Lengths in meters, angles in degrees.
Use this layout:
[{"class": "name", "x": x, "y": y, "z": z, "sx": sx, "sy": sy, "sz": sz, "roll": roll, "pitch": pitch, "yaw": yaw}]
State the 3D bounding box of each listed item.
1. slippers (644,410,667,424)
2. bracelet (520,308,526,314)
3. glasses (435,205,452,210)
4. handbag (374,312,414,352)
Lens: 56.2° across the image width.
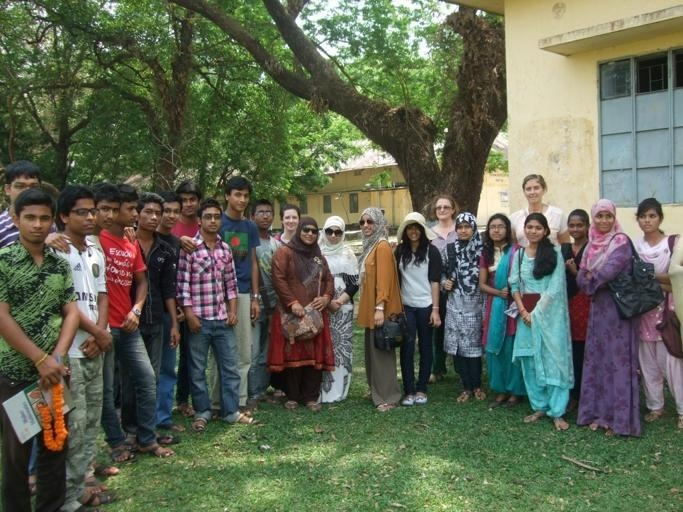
[{"class": "slippers", "x": 3.255, "y": 1.650, "z": 6.662, "sx": 0.222, "sy": 0.098, "sz": 0.091, "roll": -13, "pitch": 16, "yaw": -14}, {"class": "bracelet", "x": 1.929, "y": 0.579, "z": 6.824, "sx": 0.033, "sy": 0.044, "sz": 0.043, "roll": -12, "pitch": 24, "yaw": -27}, {"class": "glasses", "x": 1.268, "y": -0.610, "z": 7.974, "sx": 0.148, "sy": 0.050, "sz": 0.044, "roll": 0, "pitch": 14, "yaw": 4}, {"class": "handbag", "x": 0.577, "y": 0.811, "z": 7.156, "sx": 0.408, "sy": 0.413, "sz": 0.221, "roll": -9, "pitch": 4, "yaw": -13}]
